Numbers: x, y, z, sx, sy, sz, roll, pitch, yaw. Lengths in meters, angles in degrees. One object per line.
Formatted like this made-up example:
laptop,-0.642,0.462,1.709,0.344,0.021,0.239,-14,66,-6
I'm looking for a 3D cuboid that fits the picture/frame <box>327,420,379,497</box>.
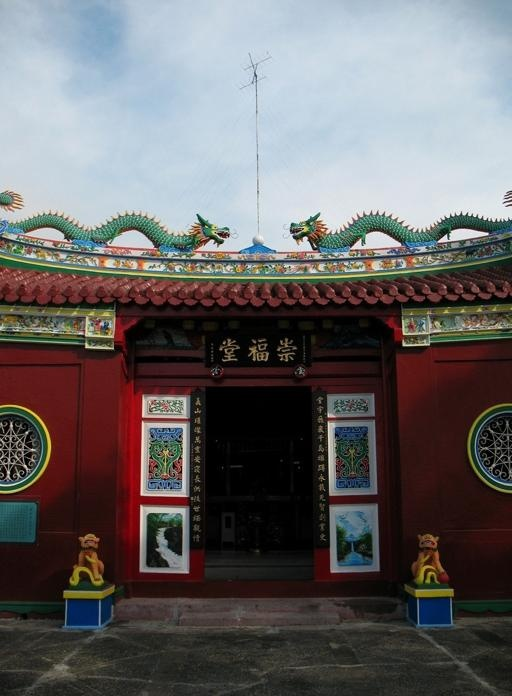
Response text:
picture/frame,1.037,1.168,7.215,0.499,0.789,0.082,0,-8,-4
